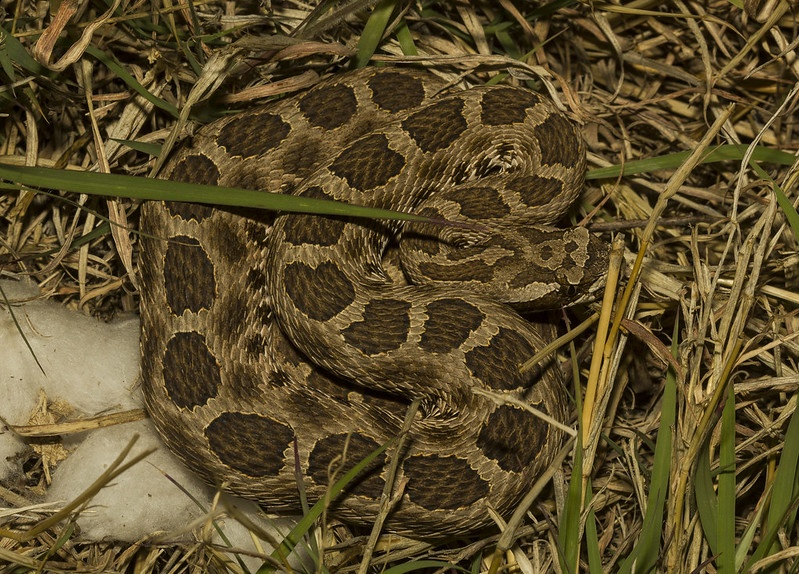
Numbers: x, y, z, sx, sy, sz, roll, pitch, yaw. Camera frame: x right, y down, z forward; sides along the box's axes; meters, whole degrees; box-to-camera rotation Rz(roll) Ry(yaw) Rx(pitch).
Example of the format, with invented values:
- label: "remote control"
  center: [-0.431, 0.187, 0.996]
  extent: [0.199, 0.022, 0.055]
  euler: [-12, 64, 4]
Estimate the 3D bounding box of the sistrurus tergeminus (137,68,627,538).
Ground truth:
- label: "sistrurus tergeminus"
  center: [-0.301, 0.051, 6.253]
  extent: [3.613, 0.878, 3.153]
  euler: [-14, 81, -6]
